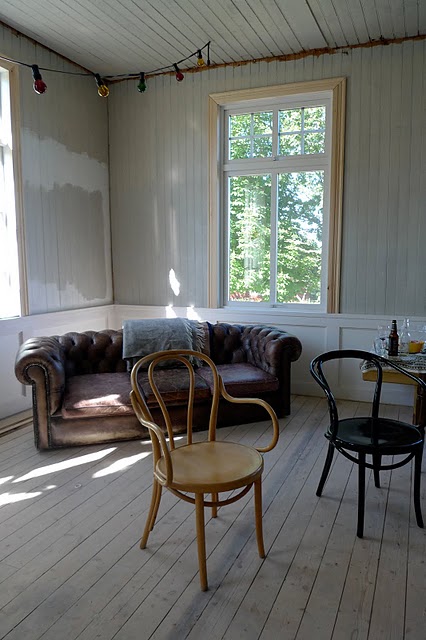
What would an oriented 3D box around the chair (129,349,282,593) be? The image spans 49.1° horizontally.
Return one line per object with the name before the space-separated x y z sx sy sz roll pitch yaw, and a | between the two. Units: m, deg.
chair | -0.016 0.527 1.754 0.491 0.776 0.481 -4 7 -17
